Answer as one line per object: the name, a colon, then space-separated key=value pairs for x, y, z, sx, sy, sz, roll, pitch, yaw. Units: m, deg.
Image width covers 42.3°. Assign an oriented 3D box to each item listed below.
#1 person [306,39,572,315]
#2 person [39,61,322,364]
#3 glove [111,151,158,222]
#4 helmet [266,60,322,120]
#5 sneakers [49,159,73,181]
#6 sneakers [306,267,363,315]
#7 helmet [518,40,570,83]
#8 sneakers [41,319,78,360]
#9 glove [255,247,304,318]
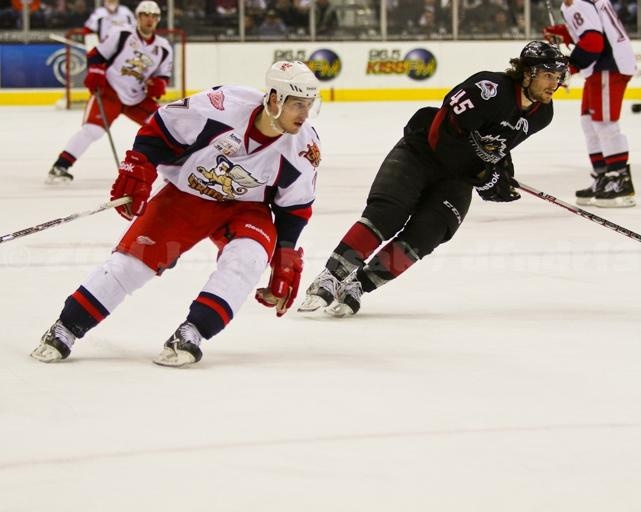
person: x=0.446 y=-0.325 z=3.272 sx=1.019 sy=1.101 sz=0.353 roll=0 pitch=14 yaw=-24
person: x=-0.407 y=-0.123 z=2.708 sx=0.851 sy=1.002 sz=0.655 roll=15 pitch=-1 yaw=2
glove: x=-0.623 y=-0.235 z=2.688 sx=0.183 sy=0.205 sz=0.070 roll=24 pitch=14 yaw=16
helmet: x=-0.104 y=-0.532 z=2.645 sx=0.152 sy=0.183 sz=0.140 roll=-2 pitch=14 yaw=-34
sneakers: x=-1.964 y=-0.635 z=6.249 sx=0.222 sy=0.168 sz=0.123 roll=1 pitch=0 yaw=-10
sneakers: x=0.050 y=0.144 z=3.142 sx=0.174 sy=0.090 sz=0.225 roll=12 pitch=-3 yaw=-1
helmet: x=0.899 y=-0.787 z=3.335 sx=0.206 sy=0.155 sz=0.195 roll=0 pitch=31 yaw=-13
sneakers: x=-0.872 y=0.260 z=2.646 sx=0.135 sy=0.088 sz=0.212 roll=13 pitch=-14 yaw=-5
glove: x=-0.134 y=0.083 z=2.733 sx=0.098 sy=0.184 sz=0.209 roll=22 pitch=-11 yaw=-22
